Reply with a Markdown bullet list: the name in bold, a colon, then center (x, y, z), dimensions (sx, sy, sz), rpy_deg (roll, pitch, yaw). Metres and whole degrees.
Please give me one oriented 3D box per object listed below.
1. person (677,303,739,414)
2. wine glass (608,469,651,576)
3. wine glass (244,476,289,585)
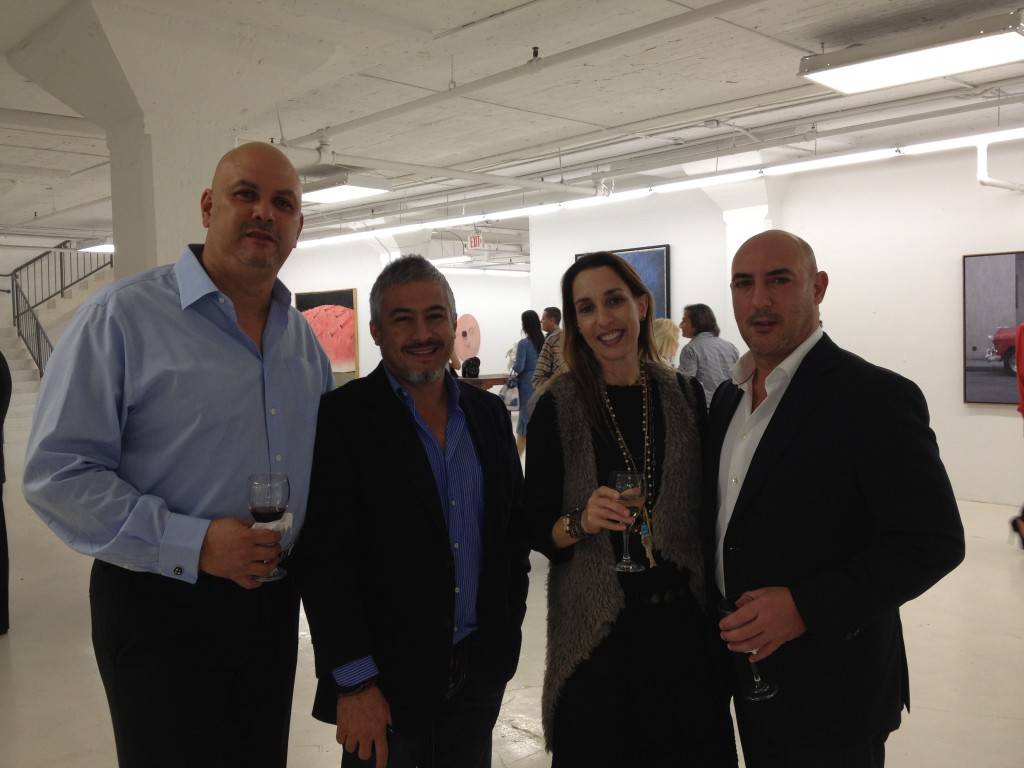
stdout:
- **person**: center (1.958, -0.350, 7.708), dimensions (0.518, 0.395, 1.194), rpy_deg (7, -32, 9)
- **wine glass**: center (0.373, 0.427, 2.353), dimensions (0.115, 0.319, 0.204), rpy_deg (-1, 8, 9)
- **wine glass**: center (-0.696, 0.427, 2.175), dimensions (0.107, 0.306, 0.211), rpy_deg (-5, 8, -19)
